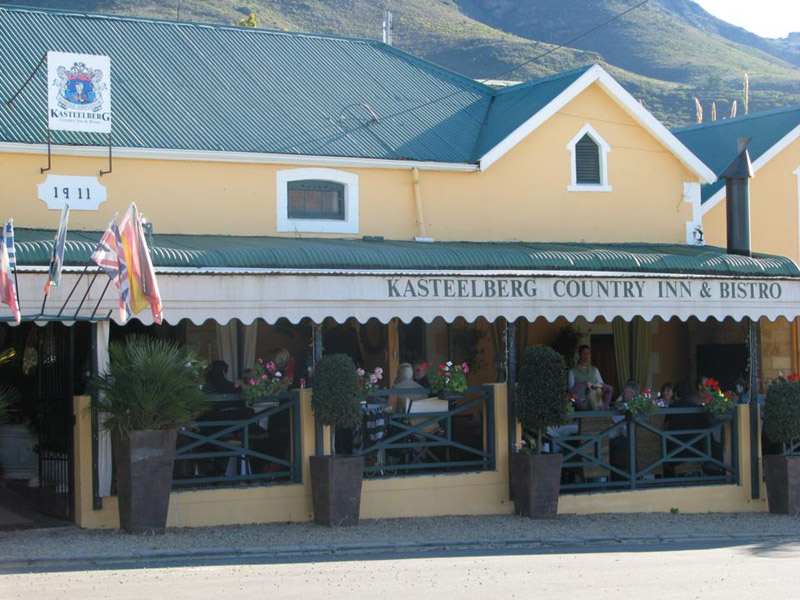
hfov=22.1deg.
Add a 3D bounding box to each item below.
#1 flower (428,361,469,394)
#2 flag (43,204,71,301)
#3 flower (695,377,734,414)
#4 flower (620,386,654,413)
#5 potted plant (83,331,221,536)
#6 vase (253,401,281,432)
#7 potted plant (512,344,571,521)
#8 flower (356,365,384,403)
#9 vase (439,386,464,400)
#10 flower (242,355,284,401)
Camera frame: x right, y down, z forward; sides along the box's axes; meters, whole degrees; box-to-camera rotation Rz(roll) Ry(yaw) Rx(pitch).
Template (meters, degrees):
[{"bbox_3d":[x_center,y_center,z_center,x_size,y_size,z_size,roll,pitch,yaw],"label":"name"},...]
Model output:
[{"bbox_3d":[0.931,1.596,43.592,0.697,0.527,0.697,2,-4,-29],"label":"flower"},{"bbox_3d":[-7.029,-1.002,41.538,0.474,1.883,2.097,-1,-3,-10],"label":"flag"},{"bbox_3d":[6.818,2.051,44.764,0.709,0.900,0.698,12,9,-7],"label":"flower"},{"bbox_3d":[5.029,2.099,44.128,0.477,0.463,0.631,2,-6,-6],"label":"flower"},{"bbox_3d":[-5.174,2.709,41.674,2.412,3.857,2.479,-5,-13,15],"label":"potted plant"},{"bbox_3d":[-2.873,2.343,43.228,0.579,0.944,0.594,2,2,-2],"label":"vase"},{"bbox_3d":[2.900,2.691,43.335,0.897,3.666,1.113,1,1,-16],"label":"potted plant"},{"bbox_3d":[-0.789,1.692,43.292,0.641,0.805,0.747,-6,8,-42],"label":"flower"},{"bbox_3d":[1.078,1.930,43.478,0.400,0.166,0.252,3,-4,-42],"label":"vase"},{"bbox_3d":[-2.903,1.646,42.760,0.913,0.895,0.702,-1,-3,-5],"label":"flower"}]
